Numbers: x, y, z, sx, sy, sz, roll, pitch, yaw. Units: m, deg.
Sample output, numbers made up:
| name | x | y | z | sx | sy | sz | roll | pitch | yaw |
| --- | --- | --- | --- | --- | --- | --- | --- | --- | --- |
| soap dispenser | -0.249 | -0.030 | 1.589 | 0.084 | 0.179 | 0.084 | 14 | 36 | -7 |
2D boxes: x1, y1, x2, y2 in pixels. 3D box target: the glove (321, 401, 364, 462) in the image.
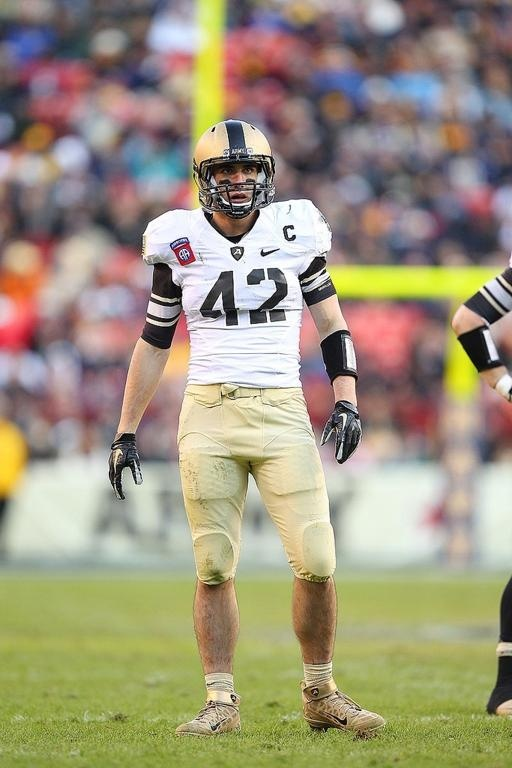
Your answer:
| name | x | y | z | sx | sy | sz | roll | pitch | yaw |
| --- | --- | --- | --- | --- | --- | --- | --- | --- | --- |
| glove | 0.233 | 0.122 | 2.524 | 0.124 | 0.163 | 0.055 | 6 | -17 | 6 |

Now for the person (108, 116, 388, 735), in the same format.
| name | x | y | z | sx | sy | sz | roll | pitch | yaw |
| --- | --- | --- | --- | --- | --- | --- | --- | --- | --- |
| person | -0.054 | 0.264 | 2.576 | 0.714 | 1.864 | 1.054 | -3 | 24 | 4 |

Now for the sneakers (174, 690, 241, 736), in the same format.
| name | x | y | z | sx | sy | sz | roll | pitch | yaw |
| --- | --- | --- | --- | --- | --- | --- | --- | --- | --- |
| sneakers | -0.098 | 0.842 | 2.380 | 0.069 | 0.076 | 0.207 | -4 | -7 | 41 |

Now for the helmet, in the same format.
| name | x | y | z | sx | sy | sz | roll | pitch | yaw |
| --- | --- | --- | --- | --- | --- | --- | --- | --- | --- |
| helmet | -0.060 | -0.598 | 2.559 | 0.255 | 0.237 | 0.308 | -3 | 5 | -5 |

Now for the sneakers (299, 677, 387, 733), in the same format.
| name | x | y | z | sx | sy | sz | roll | pitch | yaw |
| --- | --- | --- | --- | --- | --- | --- | --- | --- | --- |
| sneakers | 0.204 | 0.827 | 2.445 | 0.288 | 0.123 | 0.096 | -1 | 5 | 35 |
